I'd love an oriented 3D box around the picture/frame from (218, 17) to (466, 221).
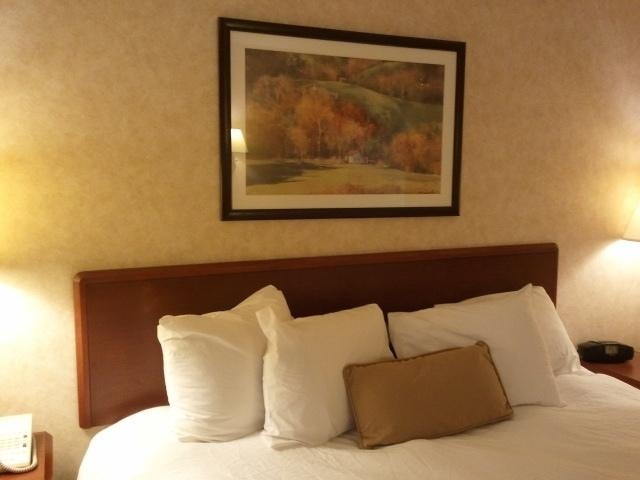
[{"bbox_3d":[0.065,-0.685,3.031,1.145,0.850,0.028,-1,4,-22],"label":"picture/frame"}]
